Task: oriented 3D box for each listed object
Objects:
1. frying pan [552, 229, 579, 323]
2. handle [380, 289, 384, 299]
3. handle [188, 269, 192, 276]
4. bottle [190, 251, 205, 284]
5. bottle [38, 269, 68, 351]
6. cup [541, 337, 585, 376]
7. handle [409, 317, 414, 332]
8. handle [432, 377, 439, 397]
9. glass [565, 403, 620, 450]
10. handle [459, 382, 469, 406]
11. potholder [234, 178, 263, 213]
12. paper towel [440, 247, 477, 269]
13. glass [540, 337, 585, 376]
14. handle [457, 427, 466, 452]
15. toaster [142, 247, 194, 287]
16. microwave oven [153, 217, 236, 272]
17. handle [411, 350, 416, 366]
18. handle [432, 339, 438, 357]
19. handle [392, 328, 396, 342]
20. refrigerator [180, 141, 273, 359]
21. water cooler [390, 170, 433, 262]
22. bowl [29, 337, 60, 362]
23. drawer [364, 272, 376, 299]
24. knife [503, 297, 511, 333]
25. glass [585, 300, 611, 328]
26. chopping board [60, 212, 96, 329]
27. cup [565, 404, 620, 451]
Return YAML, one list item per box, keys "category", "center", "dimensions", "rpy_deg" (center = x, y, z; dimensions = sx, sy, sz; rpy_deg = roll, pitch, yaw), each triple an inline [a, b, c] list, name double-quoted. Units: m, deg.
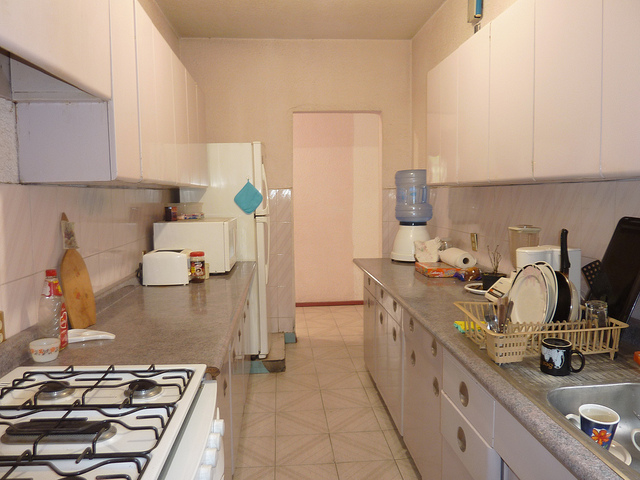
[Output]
- category: "frying pan"
  center: [1.028, 0.144, 1.987]
  dimensions: [0.096, 0.357, 0.328]
  rpy_deg: [6, 11, 29]
- category: "handle"
  center: [0.415, 0.358, 3.233]
  dimensions: [0.009, 0.041, 0.039]
  rpy_deg: [4, 4, -14]
- category: "handle"
  center: [-0.867, 0.221, 3.201]
  dimensions: [0.018, 0.035, 0.018]
  rpy_deg: [10, 18, 38]
- category: "bottle"
  center: [-0.817, 0.182, 3.217]
  dimensions: [0.097, 0.191, 0.088]
  rpy_deg: [-2, 10, -16]
- category: "bottle"
  center: [-1.119, 0.295, 2.022]
  dimensions: [0.087, 0.350, 0.114]
  rpy_deg: [1, 7, -3]
- category: "cup"
  center: [0.891, 0.411, 1.810]
  dimensions: [0.138, 0.136, 0.150]
  rpy_deg: [4, 6, 0]
- category: "handle"
  center: [0.497, 0.458, 2.605]
  dimensions: [0.015, 0.060, 0.057]
  rpy_deg: [3, 14, -11]
- category: "handle"
  center: [0.551, 0.694, 2.288]
  dimensions: [0.014, 0.064, 0.064]
  rpy_deg: [2, 10, -9]
- category: "glass"
  center: [0.881, 0.572, 1.541]
  dimensions: [0.137, 0.118, 0.181]
  rpy_deg: [3, 8, -14]
- category: "handle"
  center: [0.593, 0.632, 1.981]
  dimensions: [0.015, 0.070, 0.070]
  rpy_deg: [0, 11, -8]
- category: "potholder"
  center: [-0.592, -0.370, 3.926]
  dimensions: [0.221, 0.323, 0.037]
  rpy_deg: [7, 13, -7]
- category: "paper towel"
  center: [0.946, 0.123, 3.416]
  dimensions: [0.168, 0.121, 0.297]
  rpy_deg: [-6, 12, -36]
- category: "glass"
  center: [0.900, 0.415, 1.820]
  dimensions: [0.138, 0.136, 0.150]
  rpy_deg: [4, 6, 3]
- category: "handle"
  center: [0.589, 0.829, 1.997]
  dimensions: [0.016, 0.065, 0.064]
  rpy_deg: [2, 12, -6]
- category: "toaster"
  center: [-0.992, 0.177, 3.212]
  dimensions: [0.249, 0.225, 0.299]
  rpy_deg: [3, 9, -3]
- category: "microwave oven"
  center: [-0.906, 0.001, 3.568]
  dimensions: [0.450, 0.386, 0.520]
  rpy_deg: [2, 7, -3]
- category: "handle"
  center: [0.504, 0.635, 2.598]
  dimensions: [0.021, 0.059, 0.049]
  rpy_deg: [0, 6, -20]
- category: "handle"
  center: [0.544, 0.515, 2.281]
  dimensions: [0.013, 0.056, 0.057]
  rpy_deg: [3, 11, -5]
- category: "handle"
  center: [0.455, 0.572, 2.937]
  dimensions: [0.011, 0.048, 0.048]
  rpy_deg: [3, 3, -8]
- category: "refrigerator"
  center: [-0.775, 0.010, 4.234]
  dimensions: [0.647, 1.871, 0.692]
  rpy_deg: [-1, 3, -4]
- category: "water cooler"
  center: [0.782, -0.218, 4.055]
  dimensions: [0.316, 0.868, 0.363]
  rpy_deg: [2, 7, -8]
- category: "bowl"
  center: [-1.092, 0.437, 1.915]
  dimensions: [0.085, 0.059, 0.083]
  rpy_deg: [-1, 6, 0]
- category: "drawer"
  center: [0.381, 0.339, 3.603]
  dimensions: [0.026, 0.109, 0.110]
  rpy_deg: [0, 8, -15]
- category: "knife"
  center: [0.772, 0.314, 1.983]
  dimensions: [0.017, 0.132, 0.017]
  rpy_deg: [12, -1, 27]
- category: "glass"
  center: [1.100, 0.303, 1.908]
  dimensions: [0.092, 0.126, 0.141]
  rpy_deg: [7, 11, 30]
- category: "chopping board"
  center: [-1.144, 0.159, 2.258]
  dimensions: [0.029, 0.512, 0.182]
  rpy_deg: [-6, 8, 15]
- category: "cup"
  center: [0.880, 0.578, 1.523]
  dimensions: [0.131, 0.111, 0.171]
  rpy_deg: [4, 7, -15]
